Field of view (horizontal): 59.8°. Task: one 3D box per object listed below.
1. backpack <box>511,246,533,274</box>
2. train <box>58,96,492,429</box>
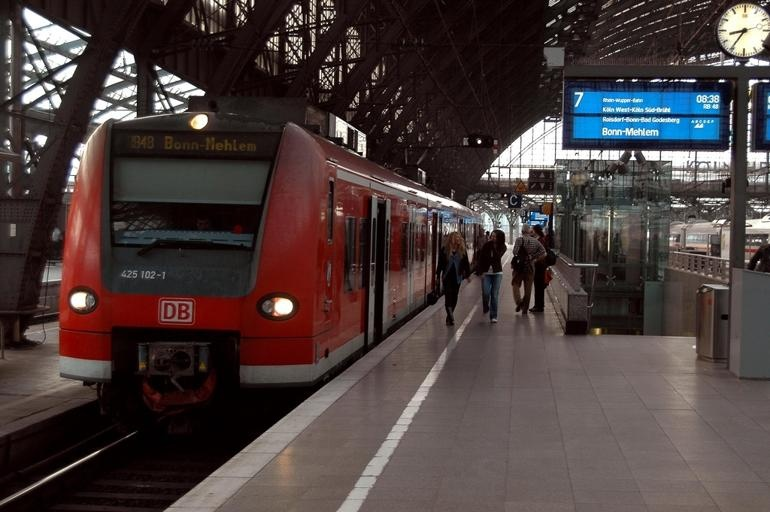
[{"bbox_3d":[3.275,0.123,16.261,0.472,0.727,0.696,4,0,-9],"label":"backpack"},{"bbox_3d":[-1.467,0.005,9.943,2.567,4.805,5.963,0,12,30],"label":"train"}]
